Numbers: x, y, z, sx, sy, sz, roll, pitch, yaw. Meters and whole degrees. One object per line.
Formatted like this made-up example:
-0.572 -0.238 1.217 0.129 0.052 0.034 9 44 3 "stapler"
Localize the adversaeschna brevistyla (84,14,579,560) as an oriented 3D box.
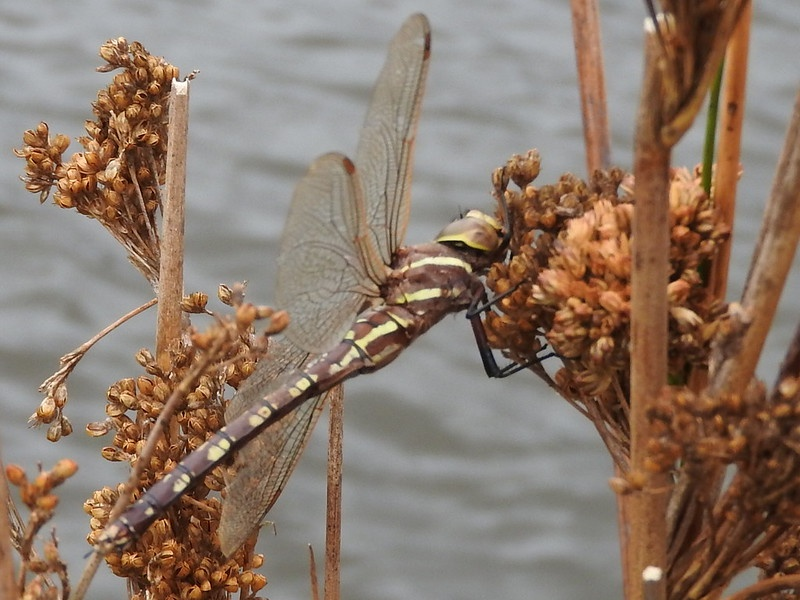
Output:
-0.113 0.036 2.874 0.276 0.765 0.645 33 -18 11 "adversaeschna brevistyla"
